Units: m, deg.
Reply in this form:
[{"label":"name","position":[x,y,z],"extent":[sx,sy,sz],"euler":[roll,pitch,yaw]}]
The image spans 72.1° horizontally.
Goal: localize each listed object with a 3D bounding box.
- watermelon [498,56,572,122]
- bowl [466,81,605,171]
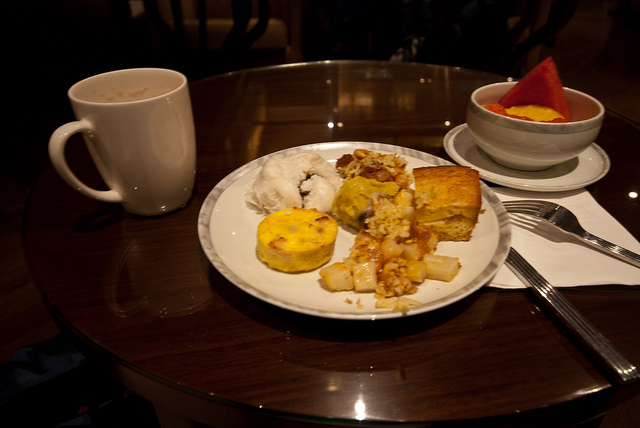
[{"label":"watermelon","position":[0.627,-0.354,1.278],"extent":[0.223,0.184,0.162],"euler":[-2,20,-16]},{"label":"bowl","position":[0.621,-0.234,1.308],"extent":[0.362,0.164,0.348],"euler":[3,28,-1]}]
